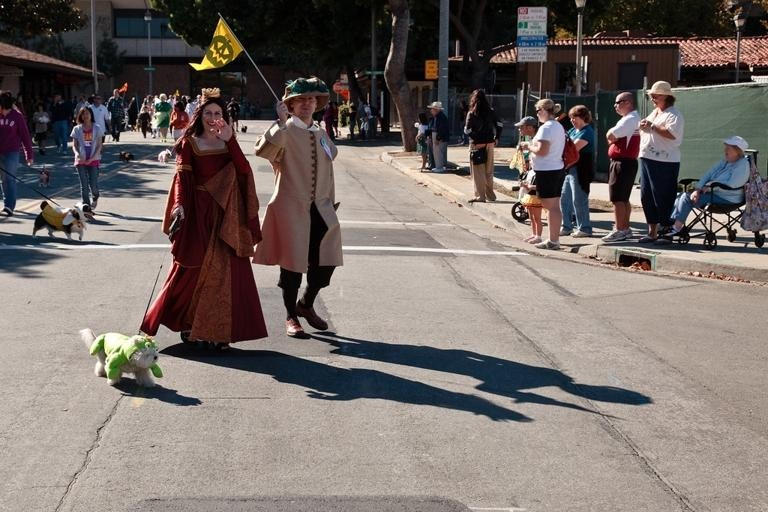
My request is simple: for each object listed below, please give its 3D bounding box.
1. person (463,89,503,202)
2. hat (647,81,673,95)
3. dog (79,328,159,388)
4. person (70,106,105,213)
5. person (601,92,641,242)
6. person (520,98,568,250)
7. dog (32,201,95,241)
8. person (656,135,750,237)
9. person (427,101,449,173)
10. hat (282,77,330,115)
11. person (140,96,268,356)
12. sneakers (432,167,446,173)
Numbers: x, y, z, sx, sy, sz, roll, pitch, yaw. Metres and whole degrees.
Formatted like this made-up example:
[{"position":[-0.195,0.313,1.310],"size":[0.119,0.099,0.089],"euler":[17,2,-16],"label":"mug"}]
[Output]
[{"position":[2.311,-2.632,16.753],"size":[0.744,2.620,1.158],"euler":[2,9,9],"label":"person"},{"position":[4.585,-2.778,11.691],"size":[0.293,0.291,1.046],"euler":[4,10,22],"label":"hat"},{"position":[-2.298,0.890,6.200],"size":[0.362,0.334,0.750],"euler":[-1,5,-43],"label":"dog"},{"position":[-6.021,-1.985,14.481],"size":[0.550,2.107,0.811],"euler":[-3,9,-22],"label":"person"},{"position":[3.963,-1.481,11.792],"size":[0.526,2.465,0.946],"euler":[3,9,18],"label":"person"},{"position":[2.673,-1.330,11.676],"size":[0.506,2.471,0.731],"euler":[6,10,31],"label":"person"},{"position":[-5.316,-0.608,11.834],"size":[1.026,0.615,0.540],"euler":[3,0,16],"label":"dog"},{"position":[5.343,-1.115,11.583],"size":[1.254,1.632,0.485],"euler":[-1,9,-14],"label":"person"},{"position":[1.764,-3.847,22.810],"size":[0.551,2.257,1.463],"euler":[1,9,4],"label":"person"},{"position":[-0.719,-1.696,7.177],"size":[0.438,0.192,0.465],"euler":[7,8,26],"label":"hat"},{"position":[-1.708,-0.312,6.846],"size":[1.044,2.465,0.541],"euler":[-2,9,-20],"label":"person"},{"position":[1.799,-2.807,22.990],"size":[0.456,0.200,0.169],"euler":[0,14,21],"label":"sneakers"}]
